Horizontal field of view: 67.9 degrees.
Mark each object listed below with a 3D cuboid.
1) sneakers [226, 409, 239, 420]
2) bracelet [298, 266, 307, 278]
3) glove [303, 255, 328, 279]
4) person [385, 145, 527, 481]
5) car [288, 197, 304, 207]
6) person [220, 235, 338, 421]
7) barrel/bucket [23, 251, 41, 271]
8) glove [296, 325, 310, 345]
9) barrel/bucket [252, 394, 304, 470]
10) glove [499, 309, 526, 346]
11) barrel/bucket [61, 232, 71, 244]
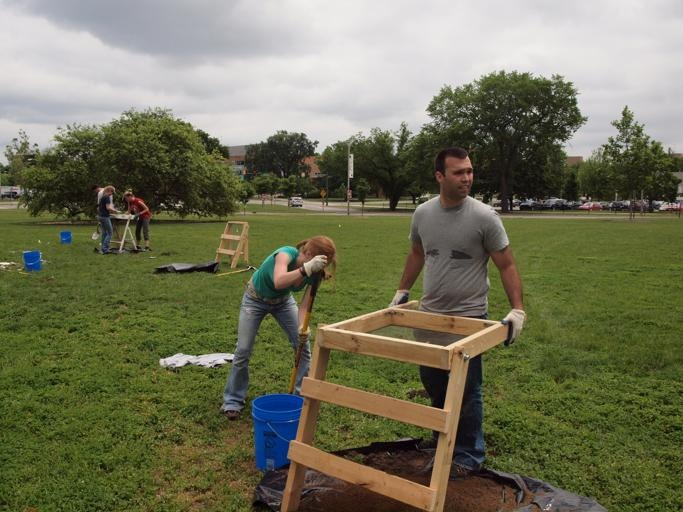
[{"bbox_3d":[-1.210,1.760,5.647,0.176,0.094,0.096,-3,12,-17],"label":"sneakers"},{"bbox_3d":[-0.387,0.156,5.047,0.060,0.106,0.078,-14,-28,23],"label":"bracelet"},{"bbox_3d":[-0.243,0.106,5.024,0.236,0.098,0.178,-16,15,42],"label":"glove"},{"bbox_3d":[1.090,0.503,4.819,0.947,3.012,1.297,-6,13,-31],"label":"person"},{"bbox_3d":[-6.265,-7.476,68.967,1.627,1.212,3.515,-3,3,-17],"label":"car"},{"bbox_3d":[-0.733,0.763,5.628,1.254,2.060,0.990,11,15,40],"label":"person"},{"bbox_3d":[-7.738,0.112,12.695,0.518,0.549,0.464,-1,1,-16],"label":"barrel/bucket"},{"bbox_3d":[-0.410,0.831,5.356,0.116,0.103,0.297,-13,-24,-32],"label":"glove"},{"bbox_3d":[-0.640,1.656,4.934,0.648,0.636,0.668,0,3,0],"label":"barrel/bucket"},{"bbox_3d":[1.497,0.630,4.419,0.131,0.312,0.372,8,14,32],"label":"glove"},{"bbox_3d":[-10.082,-0.663,18.408,0.415,0.430,0.414,-1,-2,0],"label":"barrel/bucket"}]
